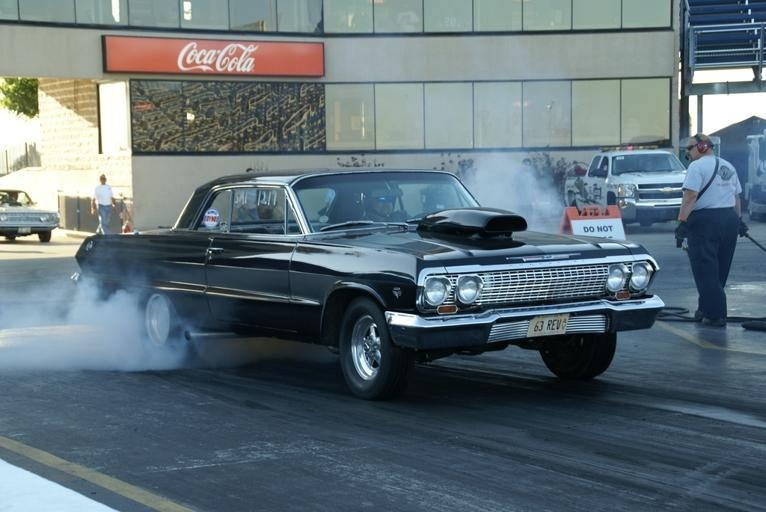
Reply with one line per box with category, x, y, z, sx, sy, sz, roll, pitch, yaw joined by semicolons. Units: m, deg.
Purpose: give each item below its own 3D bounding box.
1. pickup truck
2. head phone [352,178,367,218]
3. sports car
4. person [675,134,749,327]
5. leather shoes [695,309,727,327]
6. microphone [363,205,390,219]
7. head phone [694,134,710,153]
pickup truck;7.472;-2.237;24.561;2.156;1.509;3.739;-1;0;-19
head phone;-0.242;-0.601;8.113;0.127;0.367;0.116;-2;-13;-7
sports car;-0.271;0.137;8.362;5.471;2.125;2.060;4;9;39
person;4.383;-0.368;10.608;0.870;2.540;0.645;-1;7;4
leather shoes;4.388;0.840;10.624;0.158;0.169;0.409;-3;2;-36
microphone;-0.074;-0.455;8.140;0.197;0.096;0.152;-2;0;13
head phone;4.288;-1.507;10.613;0.199;0.243;0.246;3;-3;-29
